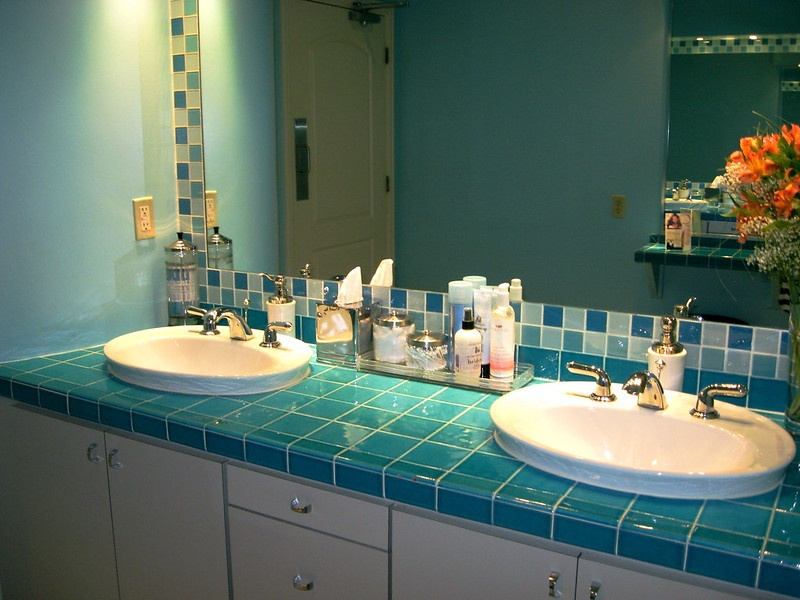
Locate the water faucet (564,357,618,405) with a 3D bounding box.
[{"bbox_3d":[0.488,0.212,1.735,0.134,0.088,0.072,3,5,11],"label":"water faucet"}]

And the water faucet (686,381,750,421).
[{"bbox_3d":[0.754,0.236,1.600,0.129,0.082,0.074,-2,2,40],"label":"water faucet"}]

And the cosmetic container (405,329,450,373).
[{"bbox_3d":[0.090,0.157,2.067,0.141,0.119,0.143,3,5,36],"label":"cosmetic container"}]

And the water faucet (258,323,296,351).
[{"bbox_3d":[-0.386,0.122,2.146,0.106,0.072,0.062,-2,2,29],"label":"water faucet"}]

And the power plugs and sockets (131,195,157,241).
[{"bbox_3d":[-0.910,-0.285,2.401,0.022,0.149,0.082,3,10,27],"label":"power plugs and sockets"}]

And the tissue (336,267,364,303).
[{"bbox_3d":[-0.152,-0.038,2.154,0.100,0.101,0.058,7,-22,-44],"label":"tissue"}]

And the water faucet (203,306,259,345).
[{"bbox_3d":[-0.569,0.079,2.289,0.213,0.129,0.083,13,16,36],"label":"water faucet"}]

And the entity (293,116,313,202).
[{"bbox_3d":[-0.326,-0.454,2.285,0.063,0.271,0.045,5,13,18],"label":"entity"}]

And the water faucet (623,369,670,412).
[{"bbox_3d":[0.610,0.223,1.662,0.075,0.083,0.108,3,14,42],"label":"water faucet"}]

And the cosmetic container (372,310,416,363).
[{"bbox_3d":[-0.022,0.118,2.127,0.178,0.148,0.178,3,4,-8],"label":"cosmetic container"}]

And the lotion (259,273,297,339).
[{"bbox_3d":[-0.403,0.037,2.266,0.097,0.249,0.089,-7,15,-19],"label":"lotion"}]

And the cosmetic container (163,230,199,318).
[{"bbox_3d":[-0.799,-0.065,2.478,0.108,0.298,0.056,-4,9,-19],"label":"cosmetic container"}]
